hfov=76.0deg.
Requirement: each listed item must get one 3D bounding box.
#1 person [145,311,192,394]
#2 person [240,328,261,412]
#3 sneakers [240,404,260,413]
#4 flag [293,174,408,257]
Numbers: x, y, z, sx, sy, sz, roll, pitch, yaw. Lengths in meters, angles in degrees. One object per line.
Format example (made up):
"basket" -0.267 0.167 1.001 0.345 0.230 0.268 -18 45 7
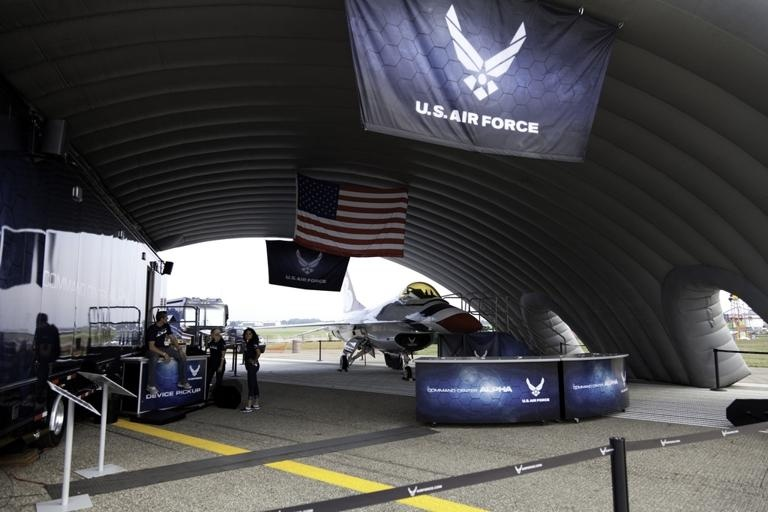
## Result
"person" -5.469 2.325 12.055 1.150 1.814 1.121 5 -2 12
"person" -3.542 2.970 13.022 0.414 2.224 1.061 0 -1 -14
"sneakers" -3.490 3.953 12.706 0.455 0.190 0.170 8 -12 -35
"flag" -1.161 -1.469 17.620 3.481 2.406 0.197 4 -3 -12
